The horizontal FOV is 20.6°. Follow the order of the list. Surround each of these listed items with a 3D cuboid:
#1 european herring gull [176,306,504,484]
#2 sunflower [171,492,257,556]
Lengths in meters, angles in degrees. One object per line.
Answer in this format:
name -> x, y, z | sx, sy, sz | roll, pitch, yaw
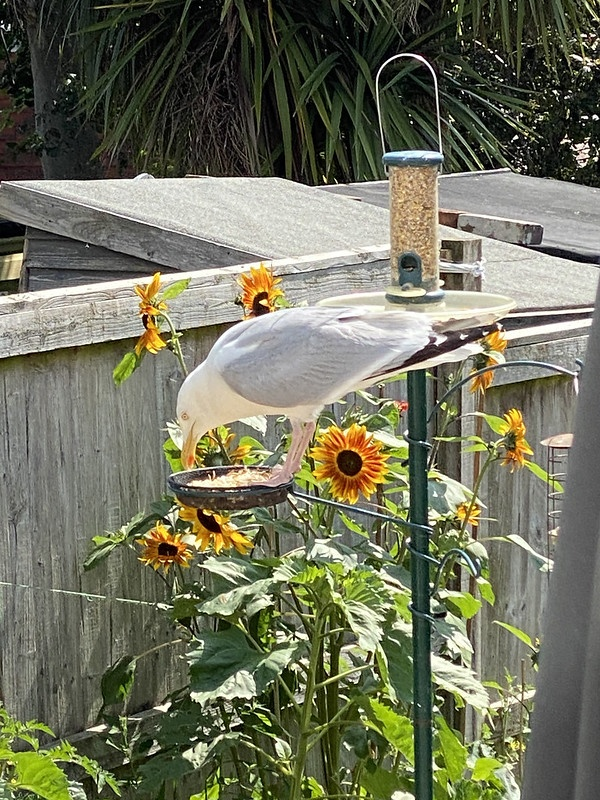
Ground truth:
european herring gull -> 0.055, -0.005, 3.553 | 0.782, 0.386, 0.236 | 6, 12, 41
sunflower -> -0.208, 0.314, 3.905 | 0.142, 0.042, 0.147 | 19, -21, -11
